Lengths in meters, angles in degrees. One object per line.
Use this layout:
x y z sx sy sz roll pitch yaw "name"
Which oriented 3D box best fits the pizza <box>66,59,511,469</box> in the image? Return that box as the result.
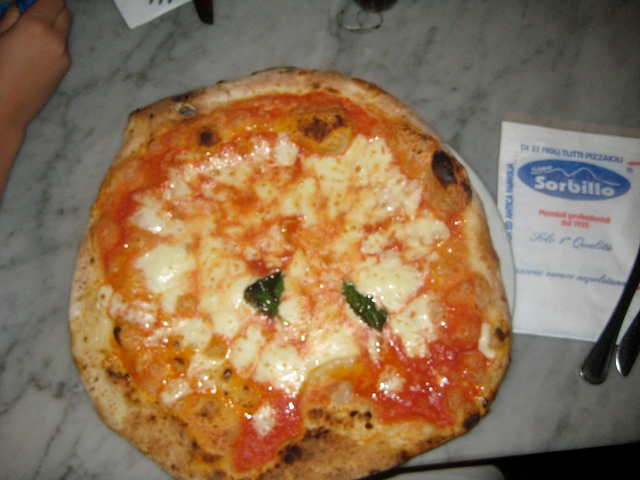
-0.067 0.040 1.268 0.819 0.169 0.692 -16 73 -2 "pizza"
